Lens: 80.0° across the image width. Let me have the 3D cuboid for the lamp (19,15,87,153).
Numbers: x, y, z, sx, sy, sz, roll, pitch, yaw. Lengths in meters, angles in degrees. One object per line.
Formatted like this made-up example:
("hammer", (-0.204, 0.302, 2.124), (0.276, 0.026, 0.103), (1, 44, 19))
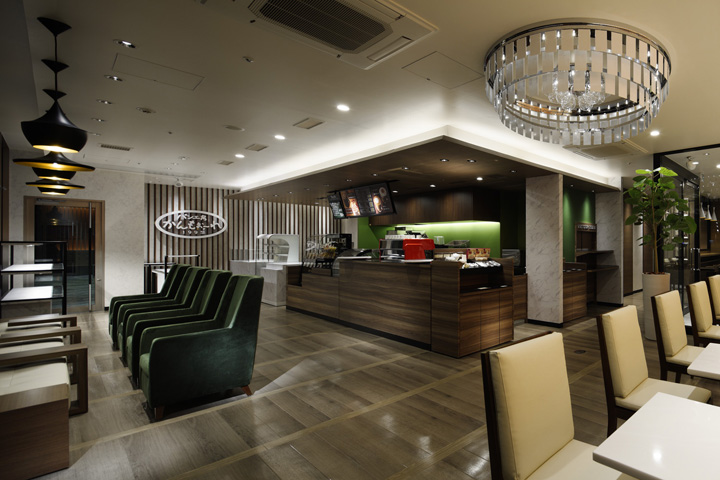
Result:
("lamp", (-3.681, -1.750, 5.047), (0.573, 1.422, 1.138), (-9, 16, -36))

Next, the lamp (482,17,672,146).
("lamp", (2.499, -1.647, 4.941), (1.863, 0.554, 1.862), (14, -5, -1))

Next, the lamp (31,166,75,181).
("lamp", (-4.375, -0.933, 6.232), (0.432, 0.140, 0.433), (1, -5, 1))

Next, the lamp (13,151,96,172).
("lamp", (-3.861, -0.958, 5.365), (0.535, 0.161, 0.545), (2, 0, 21))

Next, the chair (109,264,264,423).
("chair", (-2.395, 1.329, 5.569), (1.746, 1.825, 1.318), (5, -8, -31))
